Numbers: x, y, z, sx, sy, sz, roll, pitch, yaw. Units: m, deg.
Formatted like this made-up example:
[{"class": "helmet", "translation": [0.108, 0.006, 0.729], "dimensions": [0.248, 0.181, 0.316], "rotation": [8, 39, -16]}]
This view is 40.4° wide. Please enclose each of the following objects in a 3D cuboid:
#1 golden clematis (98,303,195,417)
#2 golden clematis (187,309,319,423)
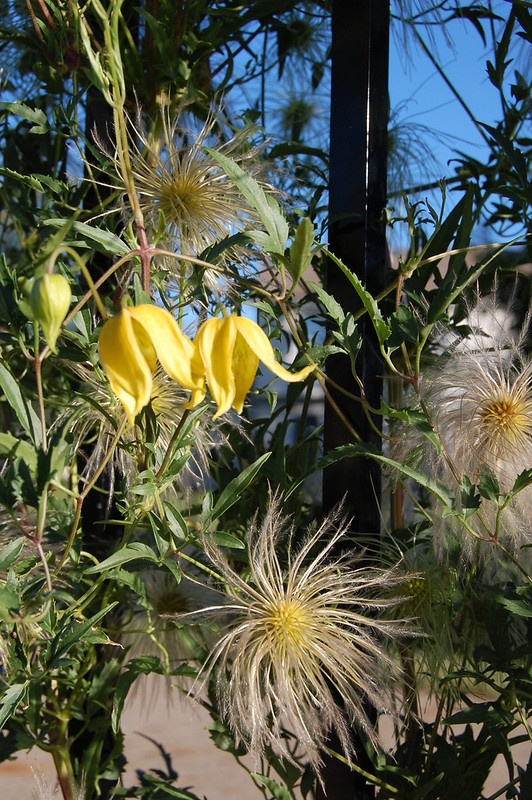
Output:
[{"class": "golden clematis", "translation": [-0.097, -0.034, 0.629], "dimensions": [0.083, 0.097, 0.138], "rotation": [2, 2, 8]}, {"class": "golden clematis", "translation": [-0.018, -0.030, 0.682], "dimensions": [0.112, 0.071, 0.086], "rotation": [-1, -13, -25]}]
